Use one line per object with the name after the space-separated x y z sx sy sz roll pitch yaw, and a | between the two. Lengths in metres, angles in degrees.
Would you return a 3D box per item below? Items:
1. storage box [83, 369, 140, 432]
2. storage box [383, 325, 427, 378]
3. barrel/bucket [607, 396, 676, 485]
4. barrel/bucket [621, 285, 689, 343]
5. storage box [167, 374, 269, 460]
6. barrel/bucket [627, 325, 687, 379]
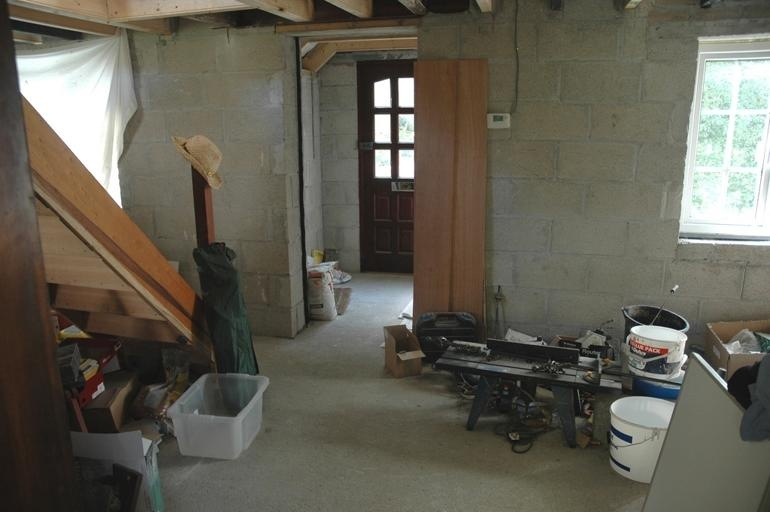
-2.027 1.152 4.605 0.318 0.265 0.551 2 28 5 | storage box
0.164 0.844 5.407 0.242 0.369 0.393 -6 12 -23 | storage box
1.815 1.280 4.299 0.485 0.437 0.467 -2 16 0 | barrel/bucket
2.243 0.513 5.191 0.618 0.525 0.445 -3 7 -20 | barrel/bucket
-1.235 1.193 4.600 0.587 0.332 0.715 3 14 3 | storage box
1.966 0.690 4.493 0.394 0.270 0.391 -2 10 0 | barrel/bucket
